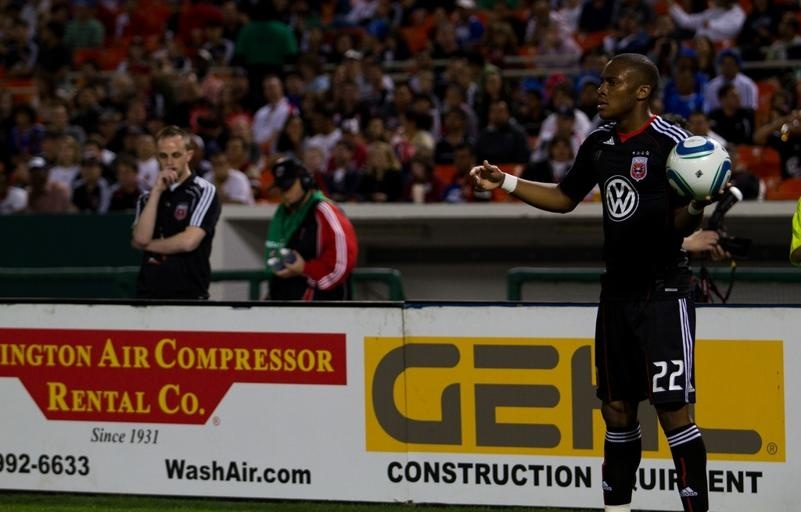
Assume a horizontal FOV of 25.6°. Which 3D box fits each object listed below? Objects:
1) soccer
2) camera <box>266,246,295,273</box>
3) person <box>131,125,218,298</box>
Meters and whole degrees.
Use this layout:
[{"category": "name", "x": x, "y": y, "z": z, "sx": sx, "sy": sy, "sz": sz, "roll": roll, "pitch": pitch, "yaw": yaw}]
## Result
[{"category": "soccer", "x": 2.891, "y": -0.858, "z": 17.313, "sx": 0.678, "sy": 0.602, "sz": 0.632, "roll": -9, "pitch": 0, "yaw": 21}, {"category": "camera", "x": -1.305, "y": 0.030, "z": 18.983, "sx": 0.255, "sy": 0.283, "sz": 0.411, "roll": 1, "pitch": -6, "yaw": -19}, {"category": "person", "x": -2.393, "y": -0.469, "z": 18.893, "sx": 0.922, "sy": 1.859, "sz": 0.391, "roll": -1, "pitch": -7, "yaw": -8}]
